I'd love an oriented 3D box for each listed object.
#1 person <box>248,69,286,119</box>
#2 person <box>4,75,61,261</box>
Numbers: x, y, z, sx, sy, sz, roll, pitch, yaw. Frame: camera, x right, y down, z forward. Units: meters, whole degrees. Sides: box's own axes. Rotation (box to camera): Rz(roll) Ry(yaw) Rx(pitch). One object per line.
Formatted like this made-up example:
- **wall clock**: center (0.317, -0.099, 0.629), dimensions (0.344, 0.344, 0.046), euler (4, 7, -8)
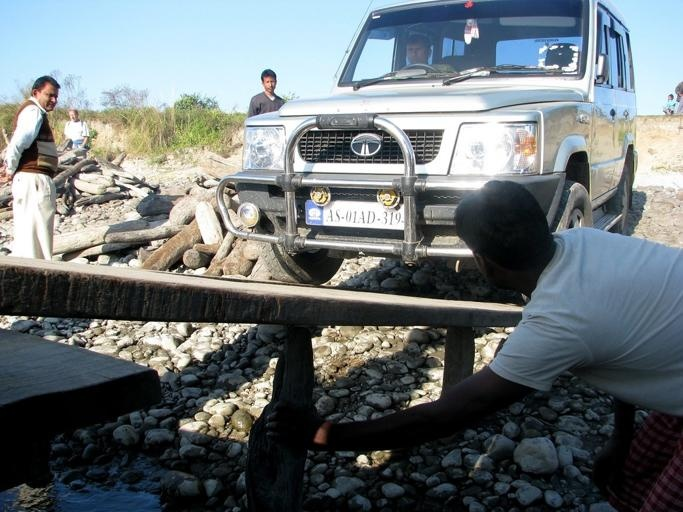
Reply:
- **person**: center (-1.174, -2.479, 7.325), dimensions (0.673, 0.993, 0.297), euler (1, -7, -17)
- **person**: center (-3.802, -1.094, 5.609), dimensions (0.571, 2.222, 0.599), euler (-3, 7, -36)
